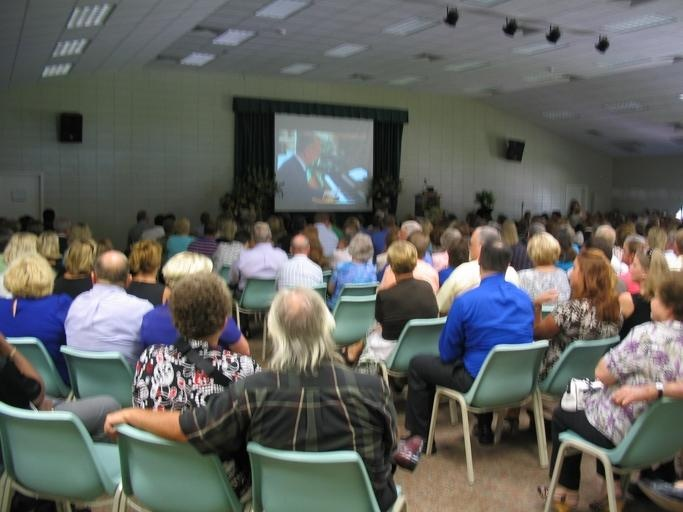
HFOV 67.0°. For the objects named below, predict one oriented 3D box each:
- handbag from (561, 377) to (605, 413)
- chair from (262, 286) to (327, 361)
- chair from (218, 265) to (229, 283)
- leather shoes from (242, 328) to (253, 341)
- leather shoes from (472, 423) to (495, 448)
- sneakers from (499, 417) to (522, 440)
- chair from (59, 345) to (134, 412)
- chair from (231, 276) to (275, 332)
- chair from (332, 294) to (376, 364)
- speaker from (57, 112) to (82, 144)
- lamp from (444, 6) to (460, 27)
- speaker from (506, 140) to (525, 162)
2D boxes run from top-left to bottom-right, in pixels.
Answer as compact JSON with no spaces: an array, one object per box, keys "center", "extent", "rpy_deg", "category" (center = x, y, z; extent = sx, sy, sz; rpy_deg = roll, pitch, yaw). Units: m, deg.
[{"center":[1.286,0.740,2.776],"extent":[0.271,0.139,0.098],"rpy_deg":[-7,4,-25],"category":"handbag"},{"center":[-0.186,0.283,2.120],"extent":[0.237,0.344,0.234],"rpy_deg":[-4,13,-18],"category":"chair"},{"center":[-1.176,0.172,5.106],"extent":[0.118,0.145,0.188],"rpy_deg":[8,-18,-6],"category":"chair"},{"center":[-1.140,0.925,6.179],"extent":[0.124,0.141,0.127],"rpy_deg":[-17,-20,41],"category":"leather shoes"},{"center":[1.027,1.283,3.687],"extent":[0.068,0.143,0.183],"rpy_deg":[-1,8,1],"category":"leather shoes"},{"center":[1.245,1.272,3.794],"extent":[0.085,0.230,0.213],"rpy_deg":[-5,-20,21],"category":"sneakers"},{"center":[-1.381,0.679,2.873],"extent":[0.454,0.387,0.194],"rpy_deg":[4,12,18],"category":"chair"},{"center":[-0.918,0.453,5.211],"extent":[0.341,0.736,0.474],"rpy_deg":[-4,24,-17],"category":"chair"},{"center":[0.103,0.572,4.483],"extent":[0.320,0.687,0.435],"rpy_deg":[-6,24,-17],"category":"chair"},{"center":[-5.375,-2.520,10.081],"extent":[0.448,0.790,0.361],"rpy_deg":[-1,5,-34],"category":"speaker"},{"center":[1.543,-3.363,7.325],"extent":[0.211,0.371,0.114],"rpy_deg":[-10,26,-21],"category":"lamp"},{"center":[5.147,-3.130,15.242],"extent":[0.523,0.609,0.282],"rpy_deg":[2,2,-30],"category":"speaker"}]
